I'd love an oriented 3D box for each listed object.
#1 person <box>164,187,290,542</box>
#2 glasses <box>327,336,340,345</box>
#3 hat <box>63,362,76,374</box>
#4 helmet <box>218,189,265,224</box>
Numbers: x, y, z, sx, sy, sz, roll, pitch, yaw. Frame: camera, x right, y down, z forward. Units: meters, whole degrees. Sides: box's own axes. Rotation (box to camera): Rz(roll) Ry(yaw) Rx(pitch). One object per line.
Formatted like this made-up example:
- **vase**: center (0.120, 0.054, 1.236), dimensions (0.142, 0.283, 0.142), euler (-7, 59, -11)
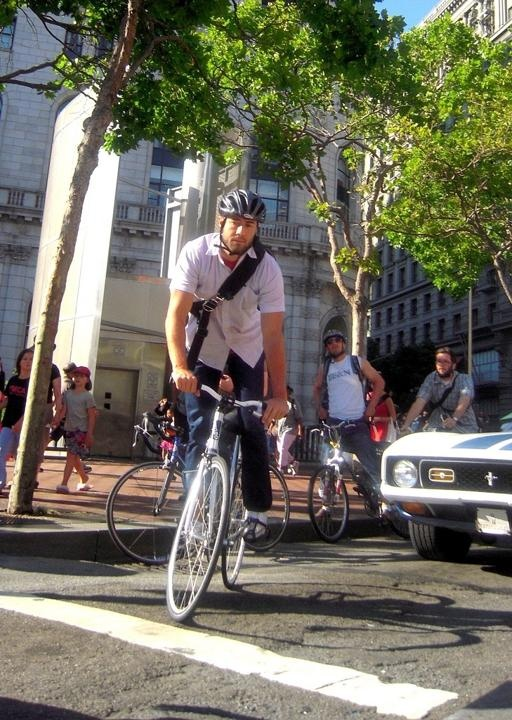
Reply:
- **person**: center (-0.150, -0.014, 3.378), dimensions (0.673, 1.796, 1.123), euler (6, -10, -2)
- **glasses**: center (0.830, -0.208, 6.816), dimensions (0.084, 0.057, 0.109), euler (-5, -4, 5)
- **hat**: center (-3.223, 0.130, 11.187), dimensions (0.159, 0.298, 0.447), euler (5, -13, -19)
- **helmet**: center (-0.065, -0.817, 3.345), dimensions (0.231, 0.226, 0.240), euler (5, -9, -3)
